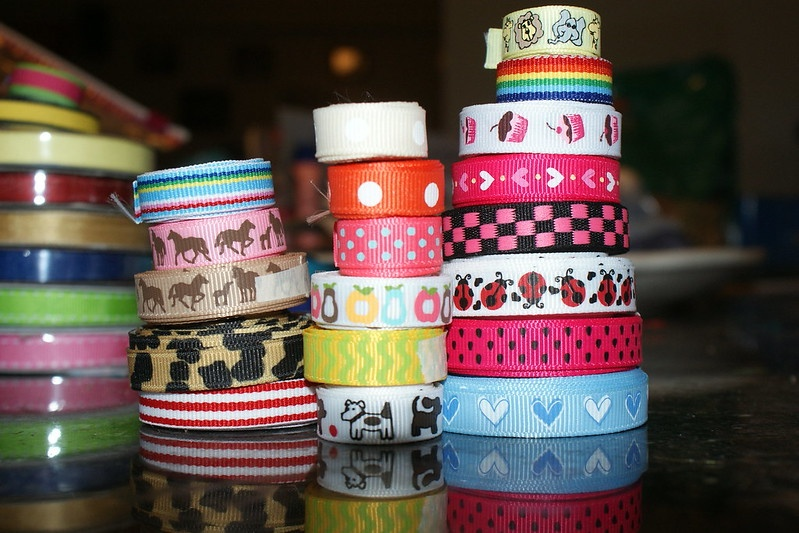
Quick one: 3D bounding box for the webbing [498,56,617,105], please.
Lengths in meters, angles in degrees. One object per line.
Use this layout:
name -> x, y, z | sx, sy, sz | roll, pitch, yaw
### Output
webbing -> 0.422, -0.510, 2.468 | 0.335, 0.110, 0.321 | -3, 6, -21

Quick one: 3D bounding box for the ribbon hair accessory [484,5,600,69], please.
ribbon hair accessory -> 0.393, -0.588, 2.384 | 0.257, 0.092, 0.202 | -1, 0, 40

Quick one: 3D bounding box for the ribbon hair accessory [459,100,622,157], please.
ribbon hair accessory -> 0.378, -0.392, 2.523 | 0.496, 0.151, 0.488 | 6, 5, 24

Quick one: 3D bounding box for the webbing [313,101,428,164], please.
webbing -> -0.059, -0.358, 2.324 | 0.309, 0.130, 0.296 | -5, 9, -29

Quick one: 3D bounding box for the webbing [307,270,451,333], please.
webbing -> -0.030, 0.075, 2.383 | 0.455, 0.154, 0.437 | -3, 4, -25

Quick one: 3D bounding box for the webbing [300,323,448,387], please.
webbing -> -0.063, 0.226, 2.313 | 0.363, 0.134, 0.356 | 4, -7, -37
